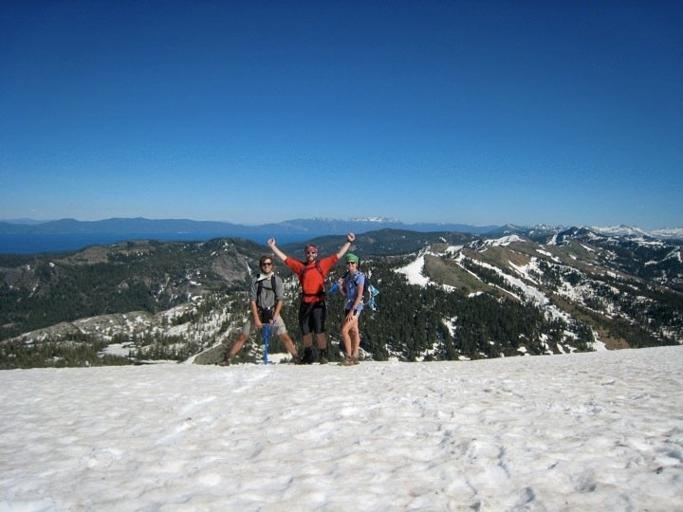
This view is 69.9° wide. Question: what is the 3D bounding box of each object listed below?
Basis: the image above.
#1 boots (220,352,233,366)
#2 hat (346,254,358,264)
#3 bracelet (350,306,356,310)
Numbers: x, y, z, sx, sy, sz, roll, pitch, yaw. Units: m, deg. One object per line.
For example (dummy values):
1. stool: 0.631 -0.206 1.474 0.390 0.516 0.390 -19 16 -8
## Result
1. boots: -3.852 3.447 16.257 0.372 0.446 0.499 -1 -7 -14
2. hat: 0.350 0.093 16.335 0.434 0.328 0.635 -3 -7 1
3. bracelet: 0.388 1.790 16.407 0.114 0.035 0.116 -5 40 37
